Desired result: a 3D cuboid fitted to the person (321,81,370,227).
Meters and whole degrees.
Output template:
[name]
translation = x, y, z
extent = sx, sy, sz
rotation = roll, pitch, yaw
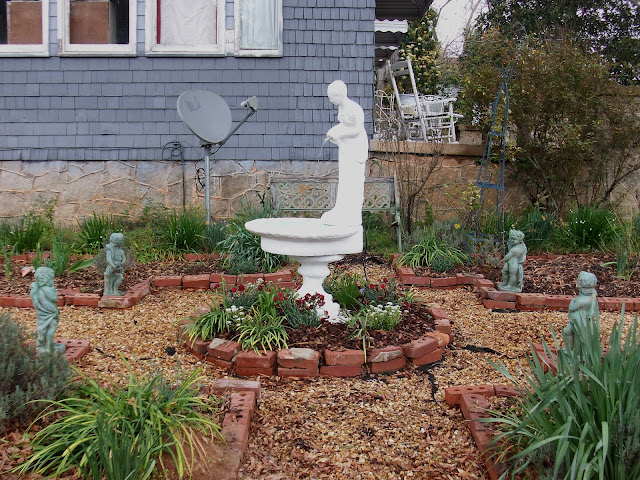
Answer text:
[person]
translation = 0.222, -0.795, 5.551
extent = 0.433, 1.309, 0.312
rotation = -2, 10, 3
